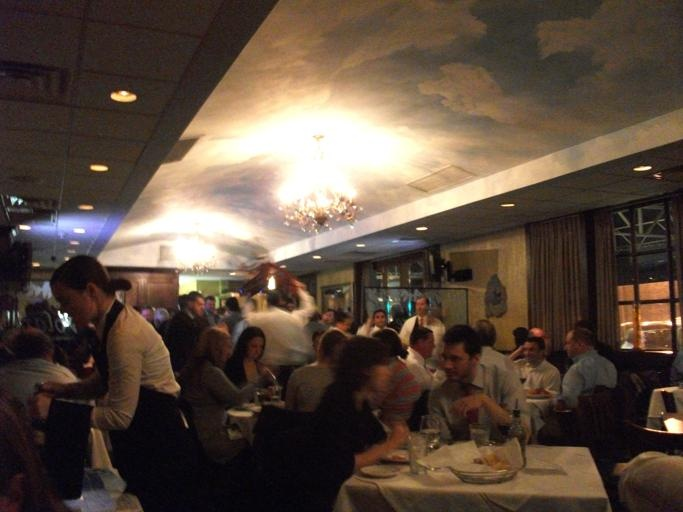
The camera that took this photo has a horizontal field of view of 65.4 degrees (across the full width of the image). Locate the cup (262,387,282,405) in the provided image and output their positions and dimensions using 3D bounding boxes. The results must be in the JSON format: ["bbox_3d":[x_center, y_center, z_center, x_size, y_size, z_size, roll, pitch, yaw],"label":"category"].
[{"bbox_3d":[-0.572,1.118,4.292,0.096,0.140,0.147,2,-4,-14],"label":"cup"}]

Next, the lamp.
[{"bbox_3d":[-0.493,-0.853,7.271,1.108,1.404,1.109,-11,-23,29],"label":"lamp"}]
